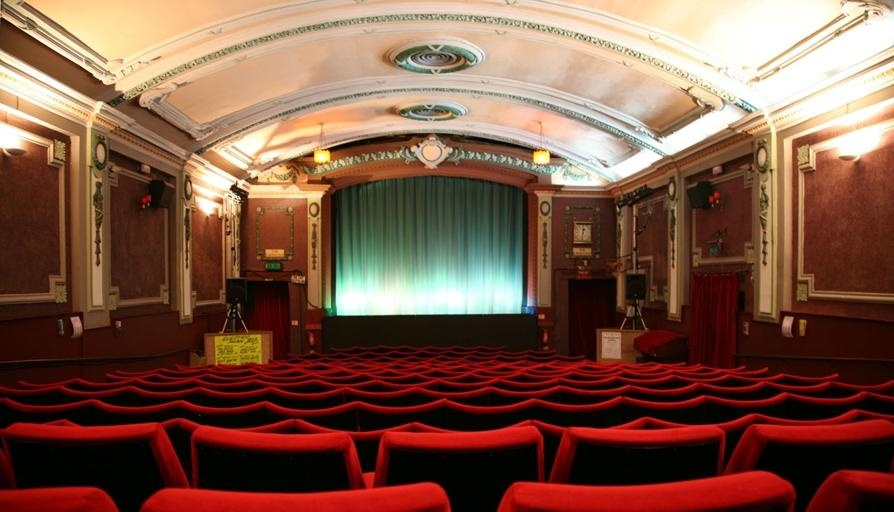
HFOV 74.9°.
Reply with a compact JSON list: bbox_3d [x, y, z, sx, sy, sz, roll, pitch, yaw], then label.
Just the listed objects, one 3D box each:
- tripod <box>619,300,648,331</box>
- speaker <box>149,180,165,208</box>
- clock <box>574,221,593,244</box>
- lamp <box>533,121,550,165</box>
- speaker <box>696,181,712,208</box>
[{"bbox_3d":[4.500,1.385,13.811,0.530,0.670,1.604,-4,-5,18],"label":"tripod"},{"bbox_3d":[-5.570,-1.186,11.137,0.315,0.507,0.230,-5,-5,19],"label":"speaker"},{"bbox_3d":[3.624,-0.585,15.353,0.636,0.677,0.156,0,-5,0],"label":"clock"},{"bbox_3d":[2.247,-2.542,13.645,0.287,1.083,1.572,-4,-5,12],"label":"lamp"},{"bbox_3d":[5.093,-1.196,11.343,0.267,0.489,0.155,-6,-6,28],"label":"speaker"}]
